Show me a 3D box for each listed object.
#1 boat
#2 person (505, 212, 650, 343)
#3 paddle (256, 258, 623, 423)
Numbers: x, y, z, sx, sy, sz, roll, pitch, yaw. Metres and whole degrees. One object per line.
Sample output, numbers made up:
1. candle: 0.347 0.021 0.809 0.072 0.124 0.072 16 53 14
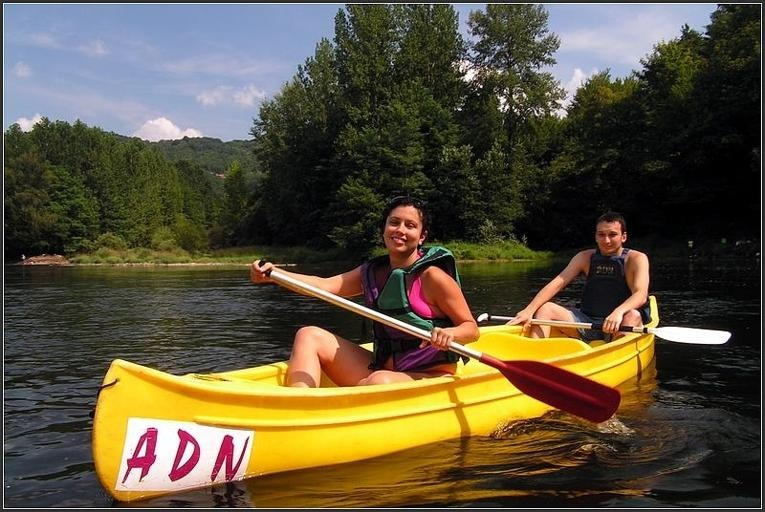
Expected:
1. boat: 1.037 0.970 5.007 6.258 0.994 1.394 1 -7 -31
2. person: 1.935 0.391 5.484 1.036 1.413 1.317 2 7 38
3. paddle: 0.480 0.715 4.887 3.753 0.391 0.316 16 0 -11
